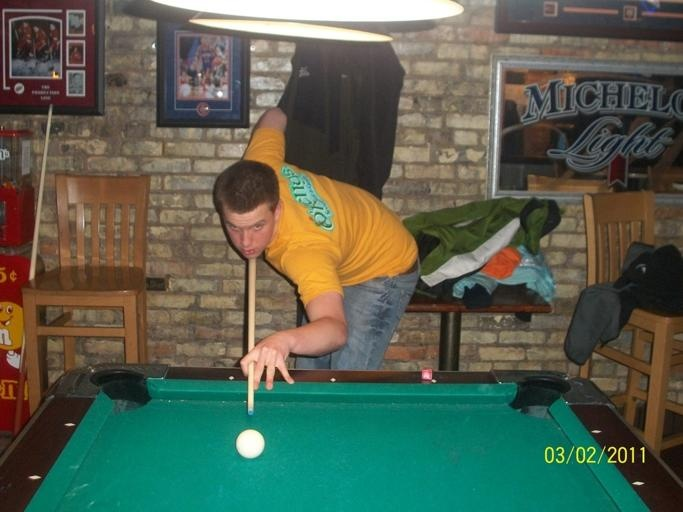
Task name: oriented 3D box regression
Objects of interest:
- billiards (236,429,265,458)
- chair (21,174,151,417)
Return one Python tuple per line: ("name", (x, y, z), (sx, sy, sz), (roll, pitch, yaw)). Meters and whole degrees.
("billiards", (-0.297, 0.624, 2.330), (0.102, 0.087, 0.082), (-2, 8, -17))
("chair", (-1.363, 0.248, 3.945), (0.700, 1.384, 0.659), (1, 7, -10))
